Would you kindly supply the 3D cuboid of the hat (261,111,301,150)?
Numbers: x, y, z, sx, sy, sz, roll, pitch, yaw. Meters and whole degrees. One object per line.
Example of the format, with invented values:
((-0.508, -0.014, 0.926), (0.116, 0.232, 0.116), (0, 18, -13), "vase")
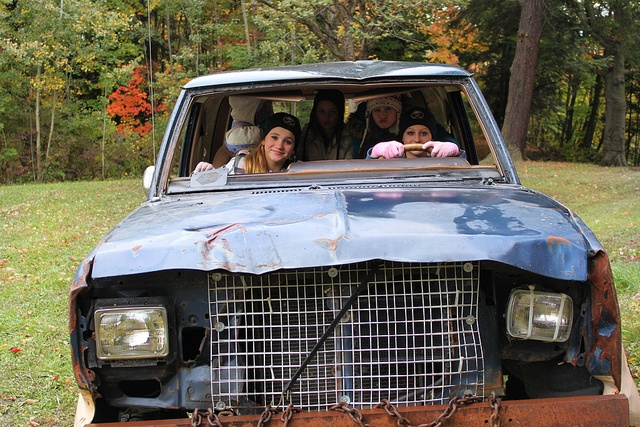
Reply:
((-0.351, -0.757, 6.398), (0.294, 0.331, 0.288), (7, 11, -6), "hat")

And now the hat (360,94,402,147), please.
((0.669, -0.977, 7.109), (0.552, 0.562, 0.509), (1, 9, 15), "hat")

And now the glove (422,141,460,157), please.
((1.083, -0.565, 6.050), (0.177, 0.065, 0.213), (-6, 3, -31), "glove")

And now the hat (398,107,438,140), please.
((0.941, -0.862, 6.555), (0.345, 0.254, 0.327), (2, -14, 2), "hat")

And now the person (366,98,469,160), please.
((0.871, -0.703, 6.349), (0.632, 0.366, 0.738), (0, -11, 6), "person")

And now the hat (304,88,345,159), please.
((0.029, -0.802, 7.243), (0.462, 0.901, 0.294), (8, -40, 3), "hat")
